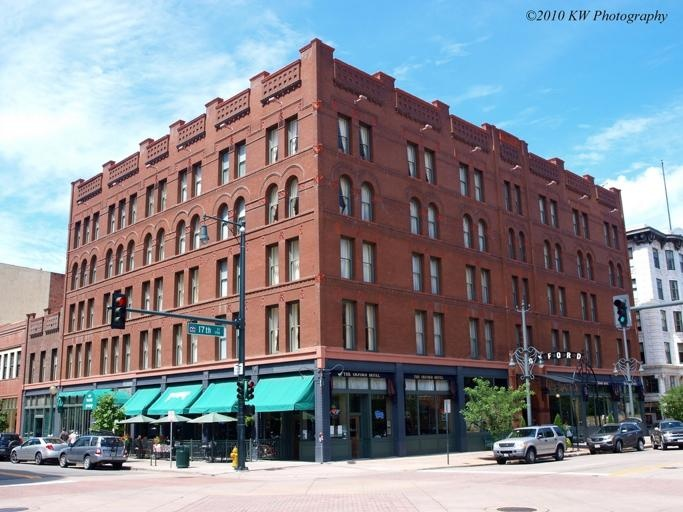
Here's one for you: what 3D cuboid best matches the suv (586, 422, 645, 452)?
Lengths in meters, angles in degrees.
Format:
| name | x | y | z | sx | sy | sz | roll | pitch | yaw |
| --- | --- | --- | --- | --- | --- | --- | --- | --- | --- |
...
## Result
| name | x | y | z | sx | sy | sz | roll | pitch | yaw |
| --- | --- | --- | --- | --- | --- | --- | --- | --- | --- |
| suv | 17.571 | 11.621 | 39.065 | 3.965 | 1.953 | 1.508 | 11 | -25 | -32 |

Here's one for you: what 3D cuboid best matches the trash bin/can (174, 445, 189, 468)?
| name | x | y | z | sx | sy | sz | roll | pitch | yaw |
| --- | --- | --- | --- | --- | --- | --- | --- | --- | --- |
| trash bin/can | -9.114 | 11.484 | 34.699 | 0.693 | 1.200 | 0.720 | 5 | -22 | -20 |

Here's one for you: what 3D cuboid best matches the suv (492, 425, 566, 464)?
| name | x | y | z | sx | sy | sz | roll | pitch | yaw |
| --- | --- | --- | --- | --- | --- | --- | --- | --- | --- |
| suv | 10.432 | 10.428 | 33.698 | 3.982 | 2.013 | 1.706 | 12 | -25 | -33 |
